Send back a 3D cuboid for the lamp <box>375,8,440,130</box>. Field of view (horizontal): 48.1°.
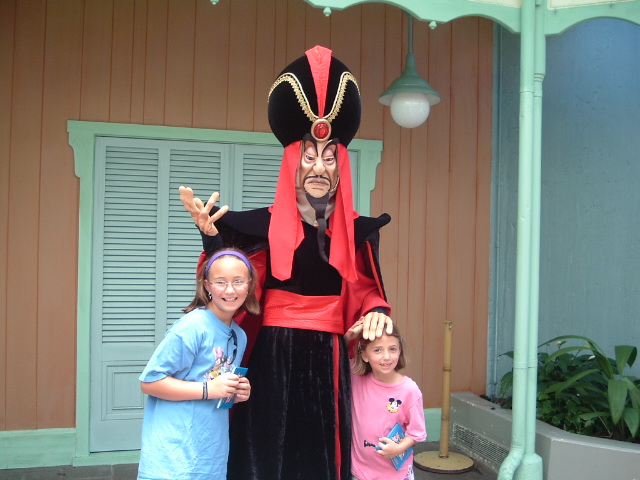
[{"bbox_3d":[0.716,-1.381,5.556,0.421,1.080,0.450,5,-8,-30],"label":"lamp"}]

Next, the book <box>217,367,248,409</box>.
[{"bbox_3d":[-0.455,0.748,3.653,0.146,0.275,0.028,18,5,-40],"label":"book"}]

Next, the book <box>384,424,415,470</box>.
[{"bbox_3d":[0.442,1.104,3.952,0.042,0.227,0.215,-6,41,-43],"label":"book"}]

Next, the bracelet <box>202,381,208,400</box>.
[{"bbox_3d":[-0.577,0.758,3.604,0.039,0.074,0.017,-1,-9,-3],"label":"bracelet"}]
